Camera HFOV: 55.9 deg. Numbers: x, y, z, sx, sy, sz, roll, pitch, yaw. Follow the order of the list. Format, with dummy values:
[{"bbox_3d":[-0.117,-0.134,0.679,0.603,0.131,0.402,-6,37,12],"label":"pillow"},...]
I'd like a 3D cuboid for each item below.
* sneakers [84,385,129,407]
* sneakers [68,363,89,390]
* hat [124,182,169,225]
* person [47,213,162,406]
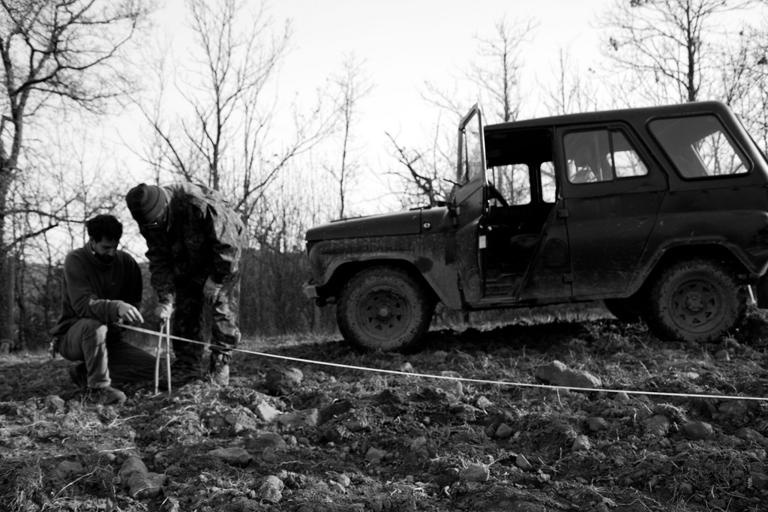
[{"bbox_3d":[-2.973,1.477,7.645,0.520,0.153,0.273,0,9,12],"label":"sneakers"},{"bbox_3d":[-3.371,1.319,8.014,0.226,0.322,0.112,-5,1,32],"label":"sneakers"},{"bbox_3d":[-2.482,-0.620,7.937,0.442,0.478,0.574,8,16,40],"label":"hat"},{"bbox_3d":[-3.083,0.516,7.948,0.986,1.944,1.094,-8,10,-33],"label":"person"}]
